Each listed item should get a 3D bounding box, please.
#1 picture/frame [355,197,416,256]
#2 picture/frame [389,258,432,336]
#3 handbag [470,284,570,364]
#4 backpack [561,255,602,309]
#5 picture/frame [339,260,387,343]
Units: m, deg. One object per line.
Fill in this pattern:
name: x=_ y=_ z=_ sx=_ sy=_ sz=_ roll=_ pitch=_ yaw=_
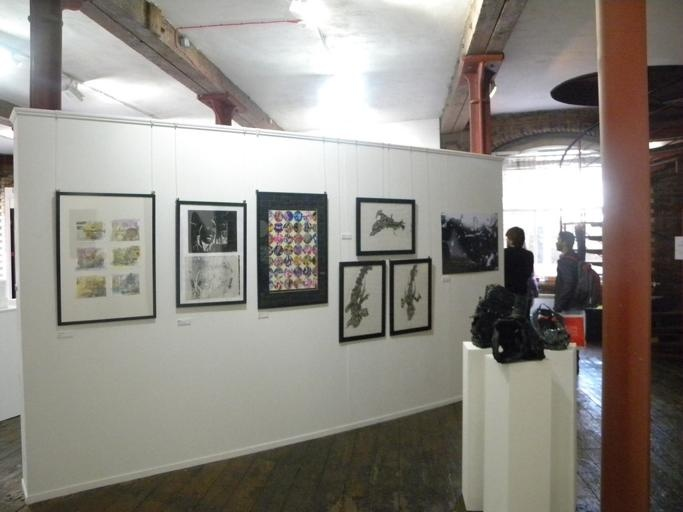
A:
picture/frame: x=0.537 y=-0.396 z=7.128 sx=0.720 sy=0.650 sz=0.030 roll=-3 pitch=3 yaw=-25
picture/frame: x=0.903 y=0.545 z=7.307 sx=0.972 sy=1.421 sz=0.062 roll=-2 pitch=5 yaw=-32
handbag: x=1.804 y=0.727 z=5.478 sx=0.473 sy=0.680 sz=0.918 roll=8 pitch=-3 yaw=-36
backpack: x=3.647 y=0.410 z=8.285 sx=0.642 sy=0.842 sz=0.379 roll=4 pitch=15 yaw=19
picture/frame: x=0.266 y=0.576 z=7.024 sx=0.730 sy=1.024 sz=0.199 roll=-7 pitch=15 yaw=-23
